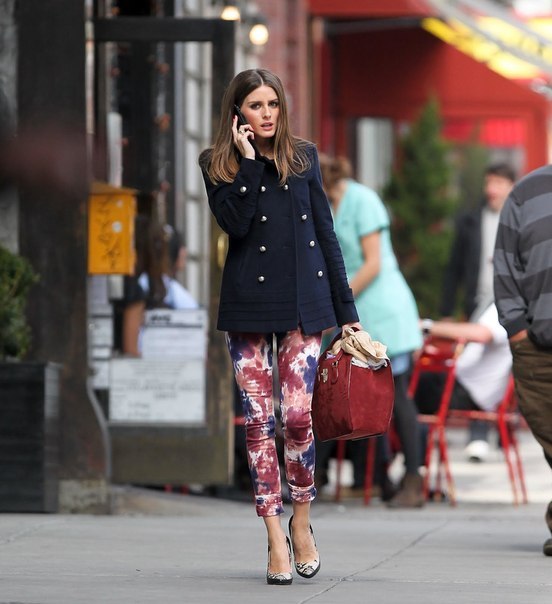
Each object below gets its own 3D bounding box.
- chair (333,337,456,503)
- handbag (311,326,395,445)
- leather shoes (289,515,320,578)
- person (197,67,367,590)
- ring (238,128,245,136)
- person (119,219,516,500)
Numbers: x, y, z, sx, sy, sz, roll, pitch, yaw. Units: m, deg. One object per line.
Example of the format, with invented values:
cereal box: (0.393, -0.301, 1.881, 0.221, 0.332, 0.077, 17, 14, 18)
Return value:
chair: (0.709, 0.619, 8.552, 0.422, 0.805, 0.422, 4, -7, 0)
handbag: (0.255, 0.277, 5.710, 0.292, 0.397, 0.227, 0, 4, 22)
leather shoes: (0.097, 0.847, 5.764, 0.110, 0.218, 0.280, -1, 4, 1)
person: (-0.013, 0.058, 5.775, 0.448, 1.784, 0.471, -4, 5, -43)
ring: (-0.122, -0.608, 5.661, 0.021, 0.031, 0.026, -1, 4, -3)
person: (0.152, 0.299, 7.360, 0.749, 1.506, 1.491, 2, -2, -27)
